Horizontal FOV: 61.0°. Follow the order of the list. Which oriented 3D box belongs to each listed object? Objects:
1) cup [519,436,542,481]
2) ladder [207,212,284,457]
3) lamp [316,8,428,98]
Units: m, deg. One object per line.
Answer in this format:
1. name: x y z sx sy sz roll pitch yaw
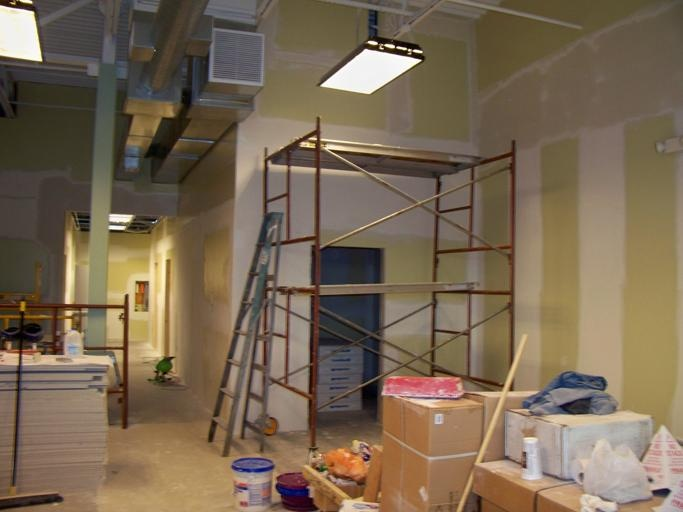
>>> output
1. cup: 1.335 1.407 4.045 0.140 0.274 0.150 3 -3 0
2. ladder: -1.078 0.783 6.492 0.686 2.602 1.229 4 -3 -7
3. lamp: 0.247 -1.824 5.483 0.544 0.212 0.936 2 -7 -20
